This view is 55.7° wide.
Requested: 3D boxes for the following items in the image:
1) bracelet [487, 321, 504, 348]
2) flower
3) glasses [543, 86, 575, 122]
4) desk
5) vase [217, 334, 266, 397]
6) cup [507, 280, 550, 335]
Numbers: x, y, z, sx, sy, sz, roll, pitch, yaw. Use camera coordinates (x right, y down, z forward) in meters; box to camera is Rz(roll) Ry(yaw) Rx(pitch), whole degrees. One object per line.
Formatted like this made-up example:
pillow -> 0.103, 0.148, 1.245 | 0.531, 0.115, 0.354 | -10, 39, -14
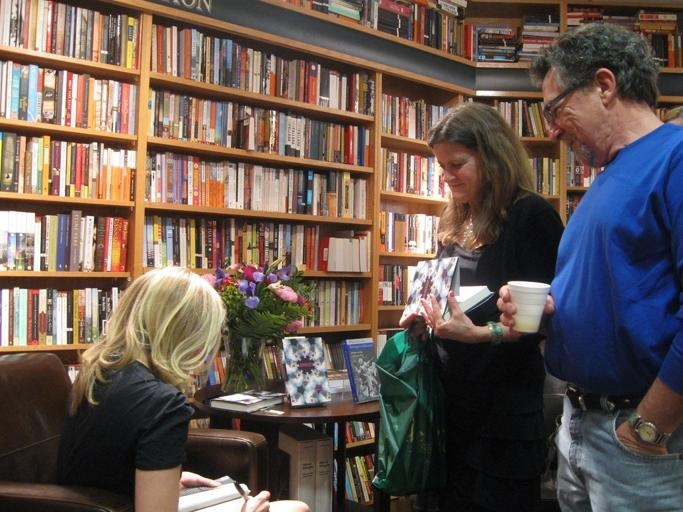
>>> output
bracelet -> 0.524, 0.259, 2.195 | 0.043, 0.072, 0.066 | -1, 11, -10
flower -> -0.341, 0.313, 3.039 | 0.523, 0.564, 0.554 | -4, -6, 40
glasses -> 0.647, -0.463, 1.940 | 0.083, 0.024, 0.079 | -51, -13, 17
desk -> -0.202, 0.747, 2.818 | 0.706, 0.452, 0.708 | 0, -1, -20
vase -> -0.401, 0.503, 2.977 | 0.265, 0.320, 0.234 | 1, -9, -2
cup -> 0.579, 0.163, 2.011 | 0.122, 0.135, 0.125 | 4, 0, 0
